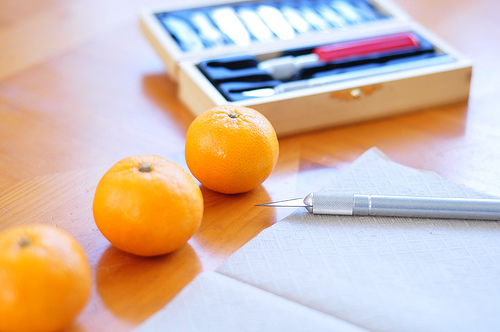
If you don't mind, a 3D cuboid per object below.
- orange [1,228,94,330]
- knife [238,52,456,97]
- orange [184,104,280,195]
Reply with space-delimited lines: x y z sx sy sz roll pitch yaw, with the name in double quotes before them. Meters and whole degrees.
"orange" -0.220 0.105 0.501 0.103 0.091 0.099 -7 5 -28
"knife" 0.192 -0.170 0.842 0.423 0.022 0.043 -9 39 -5
"orange" -0.029 -0.012 0.706 0.122 0.108 0.131 24 39 37
